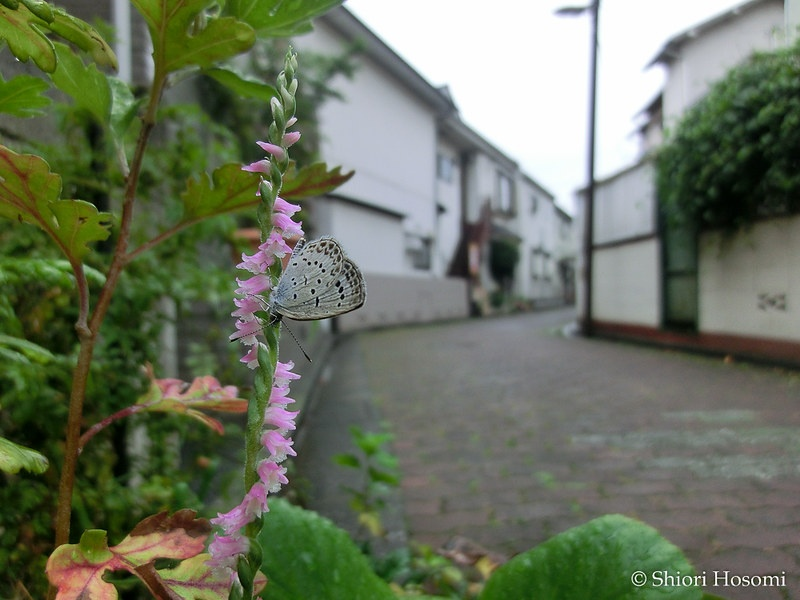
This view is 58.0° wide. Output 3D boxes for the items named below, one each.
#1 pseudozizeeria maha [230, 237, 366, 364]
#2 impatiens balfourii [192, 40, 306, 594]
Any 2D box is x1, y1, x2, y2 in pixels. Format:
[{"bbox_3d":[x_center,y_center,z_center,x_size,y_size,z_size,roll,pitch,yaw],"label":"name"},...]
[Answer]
[{"bbox_3d":[-0.175,-0.009,1.240,0.203,0.142,0.200,3,-15,-41],"label":"pseudozizeeria maha"},{"bbox_3d":[-0.255,0.031,1.224,0.176,0.866,0.194,4,10,24],"label":"impatiens balfourii"}]
